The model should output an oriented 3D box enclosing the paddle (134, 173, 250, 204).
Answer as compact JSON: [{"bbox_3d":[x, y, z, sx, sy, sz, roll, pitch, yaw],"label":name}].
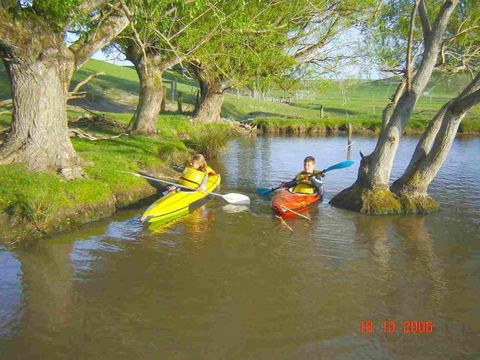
[{"bbox_3d":[-1.805,0.333,13.697,2.986,0.157,0.448,14,21,-20],"label":"paddle"}]

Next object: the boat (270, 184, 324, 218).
[{"bbox_3d":[1.702,0.746,13.034,1.100,0.612,1.718,11,12,31],"label":"boat"}]

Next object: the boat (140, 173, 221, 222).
[{"bbox_3d":[-1.874,0.691,12.583,0.836,0.534,2.917,19,26,26],"label":"boat"}]

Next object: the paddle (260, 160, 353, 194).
[{"bbox_3d":[2.642,-0.084,15.623,3.092,0.179,0.452,-23,46,7],"label":"paddle"}]

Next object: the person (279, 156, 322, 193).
[{"bbox_3d":[2.270,-0.118,13.469,0.931,0.719,1.545,3,6,17],"label":"person"}]
